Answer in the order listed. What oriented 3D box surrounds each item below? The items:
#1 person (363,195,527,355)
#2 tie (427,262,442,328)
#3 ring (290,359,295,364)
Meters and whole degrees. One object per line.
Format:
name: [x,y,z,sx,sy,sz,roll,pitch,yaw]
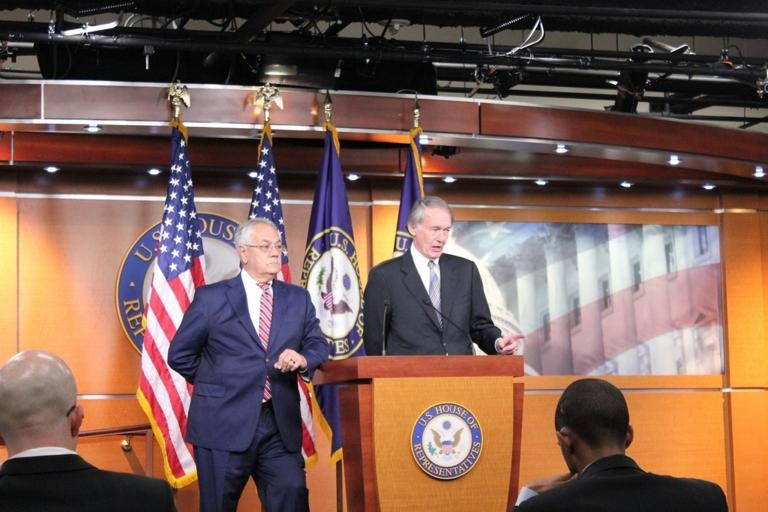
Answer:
person: [0.362,0.162,8.341,1.022,1.207,0.275,1,-7,-3]
tie: [0.397,0.305,8.378,0.072,0.498,0.054,-3,-18,-2]
ring: [-0.676,0.791,8.066,0.047,0.043,0.024,1,-1,-7]
